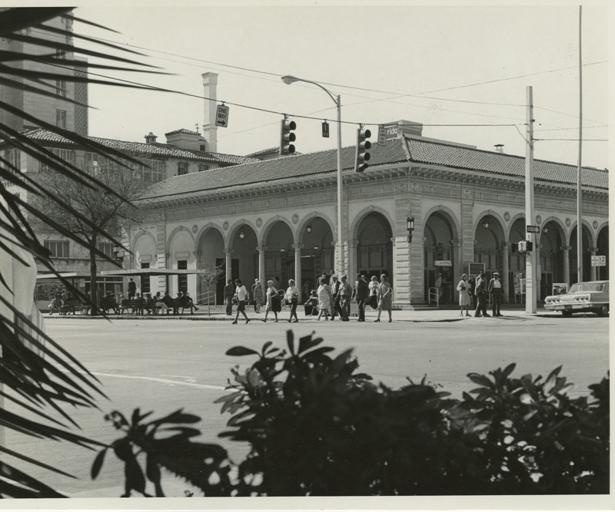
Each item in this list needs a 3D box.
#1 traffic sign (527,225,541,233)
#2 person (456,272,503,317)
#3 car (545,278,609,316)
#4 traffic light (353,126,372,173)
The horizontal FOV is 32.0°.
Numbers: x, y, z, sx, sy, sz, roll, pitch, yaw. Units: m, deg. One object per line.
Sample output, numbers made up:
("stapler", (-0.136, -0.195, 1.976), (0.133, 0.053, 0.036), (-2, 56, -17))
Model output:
("traffic sign", (6.976, -0.841, 33.129), (0.352, 0.224, 0.317), (1, -2, 1))
("person", (5.758, 1.265, 36.087), (1.221, 1.478, 0.482), (0, -3, -6))
("car", (8.488, 1.239, 33.336), (1.835, 0.983, 0.887), (0, -2, 30))
("traffic light", (1.486, -2.759, 28.054), (0.347, 1.190, 0.319), (5, -4, -26))
